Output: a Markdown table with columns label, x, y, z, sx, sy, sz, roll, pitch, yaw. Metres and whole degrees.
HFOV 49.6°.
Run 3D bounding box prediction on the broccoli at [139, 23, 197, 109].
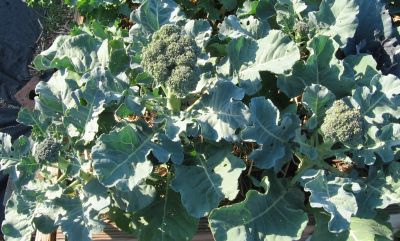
| label | x | y | z | sx | sy | sz | roll | pitch | yaw |
| --- | --- | --- | --- | --- | --- | --- | --- | --- | --- |
| broccoli | -0.140 | -0.291 | 2.368 | 0.301 | 0.372 | 0.298 | -33 | 41 | -19 |

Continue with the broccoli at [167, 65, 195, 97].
| label | x | y | z | sx | sy | sz | roll | pitch | yaw |
| --- | --- | --- | --- | --- | --- | --- | --- | --- | --- |
| broccoli | -0.097 | -0.209 | 2.298 | 0.154 | 0.144 | 0.085 | -19 | 38 | -1 |

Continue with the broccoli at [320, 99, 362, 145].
| label | x | y | z | sx | sy | sz | roll | pitch | yaw |
| --- | --- | --- | --- | --- | --- | --- | --- | --- | --- |
| broccoli | 0.723 | 0.020 | 2.223 | 0.193 | 0.177 | 0.164 | 22 | 54 | 39 |

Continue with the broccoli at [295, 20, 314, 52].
| label | x | y | z | sx | sy | sz | roll | pitch | yaw |
| --- | --- | --- | --- | --- | --- | --- | --- | --- | --- |
| broccoli | 0.579 | -0.470 | 2.442 | 0.090 | 0.170 | 0.127 | 25 | 55 | 41 |
